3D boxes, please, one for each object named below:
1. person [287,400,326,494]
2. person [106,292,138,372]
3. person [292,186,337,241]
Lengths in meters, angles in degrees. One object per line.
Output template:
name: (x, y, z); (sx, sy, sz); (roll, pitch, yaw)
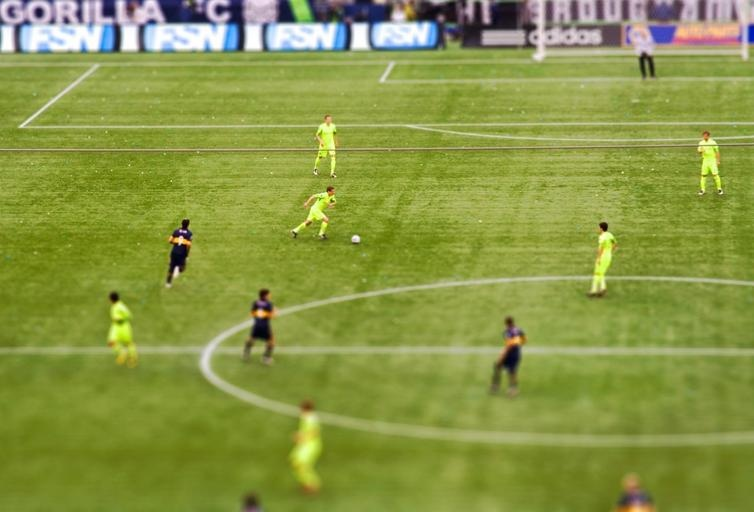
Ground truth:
person: (-1.971, 5.398, 38.984); (0.935, 2.623, 0.873); (3, -30, -5)
person: (-8.217, 2.267, 42.998); (1.091, 2.288, 0.834); (0, 2, 7)
person: (-2.311, -1.680, 49.965); (1.612, 2.005, 0.721); (3, -3, 8)
